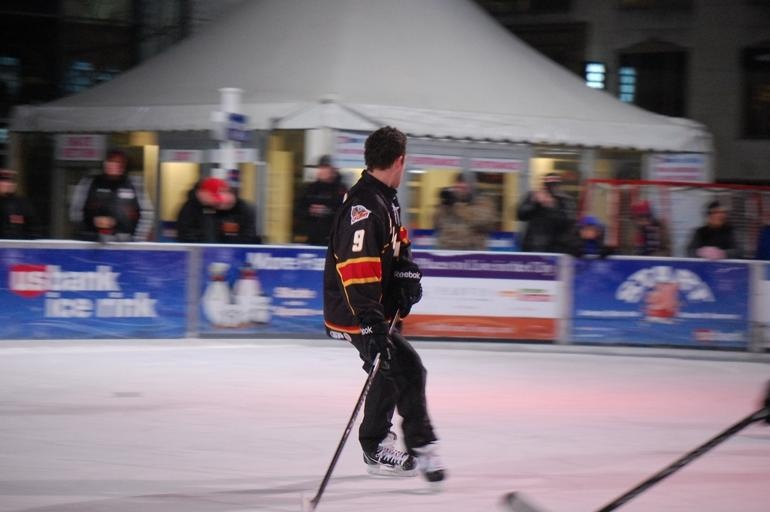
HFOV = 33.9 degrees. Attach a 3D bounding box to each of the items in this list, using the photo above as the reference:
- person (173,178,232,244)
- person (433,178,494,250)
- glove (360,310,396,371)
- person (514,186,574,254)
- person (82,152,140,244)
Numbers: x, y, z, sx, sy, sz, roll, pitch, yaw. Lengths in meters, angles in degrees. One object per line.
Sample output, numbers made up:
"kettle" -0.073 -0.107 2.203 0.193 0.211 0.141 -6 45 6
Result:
"person" -2.604 -0.662 17.994 0.689 0.903 0.184 3 5 11
"person" 1.193 -0.602 18.690 0.814 1.025 1.156 -1 15 -1
"glove" -0.073 0.991 14.514 0.405 0.546 0.263 6 0 4
"person" 2.357 -0.524 18.510 0.826 0.875 0.685 2 4 6
"person" -3.894 -0.867 17.996 0.826 1.276 0.390 1 5 -16
